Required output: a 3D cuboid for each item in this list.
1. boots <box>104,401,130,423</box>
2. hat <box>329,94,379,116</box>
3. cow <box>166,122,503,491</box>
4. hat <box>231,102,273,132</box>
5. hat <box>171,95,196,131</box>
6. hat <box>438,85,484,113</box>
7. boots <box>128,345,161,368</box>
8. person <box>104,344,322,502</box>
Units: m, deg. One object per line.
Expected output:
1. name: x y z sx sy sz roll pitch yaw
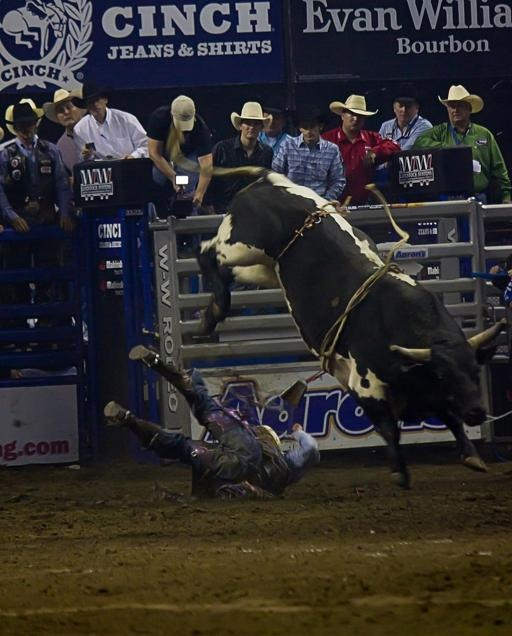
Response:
1. boots: -1.073 0.731 7.885 0.201 0.177 0.167 14 -37 -13
2. hat: 1.034 -2.325 10.942 0.429 0.156 0.455 10 -8 -8
3. cow: 0.678 -0.012 7.451 0.651 2.321 2.377 -8 8 -37
4. hat: -0.057 -2.104 10.345 0.387 0.152 0.381 1 -11 -3
5. hat: -0.722 -2.036 9.952 0.291 0.307 0.192 -5 -1 -7
6. hat: 2.296 -2.370 10.941 0.384 0.155 0.466 -7 -8 25
7. boots: -0.873 0.297 7.991 0.245 0.109 0.137 29 -61 -17
8. person: -0.342 0.995 8.128 0.665 0.972 2.002 -32 -54 28
